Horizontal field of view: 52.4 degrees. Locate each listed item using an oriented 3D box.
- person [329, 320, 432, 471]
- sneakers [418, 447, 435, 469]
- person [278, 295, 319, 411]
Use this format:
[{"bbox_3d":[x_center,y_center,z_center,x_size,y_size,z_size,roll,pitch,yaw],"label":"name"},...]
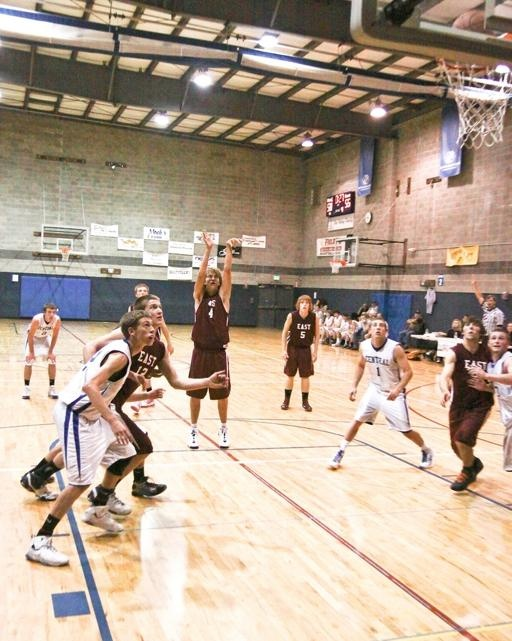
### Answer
[{"bbox_3d":[1.132,0.653,4.548,0.739,1.008,0.666,5,2,28],"label":"person"},{"bbox_3d":[1.510,1.236,4.612,0.079,0.101,0.233,-5,5,21],"label":"sneakers"},{"bbox_3d":[0.615,0.431,7.207,0.478,1.072,1.015,4,2,7],"label":"person"}]
